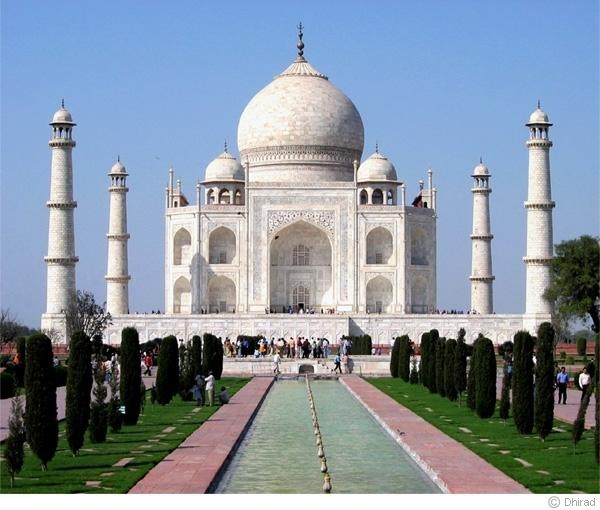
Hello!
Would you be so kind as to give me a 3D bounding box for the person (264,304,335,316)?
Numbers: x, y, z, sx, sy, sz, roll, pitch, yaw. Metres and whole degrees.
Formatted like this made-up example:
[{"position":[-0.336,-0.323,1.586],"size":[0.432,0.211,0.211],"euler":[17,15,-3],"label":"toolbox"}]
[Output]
[{"position":[-0.079,2.188,43.120],"size":[2.130,0.335,0.169],"euler":[-2,2,5],"label":"person"}]
